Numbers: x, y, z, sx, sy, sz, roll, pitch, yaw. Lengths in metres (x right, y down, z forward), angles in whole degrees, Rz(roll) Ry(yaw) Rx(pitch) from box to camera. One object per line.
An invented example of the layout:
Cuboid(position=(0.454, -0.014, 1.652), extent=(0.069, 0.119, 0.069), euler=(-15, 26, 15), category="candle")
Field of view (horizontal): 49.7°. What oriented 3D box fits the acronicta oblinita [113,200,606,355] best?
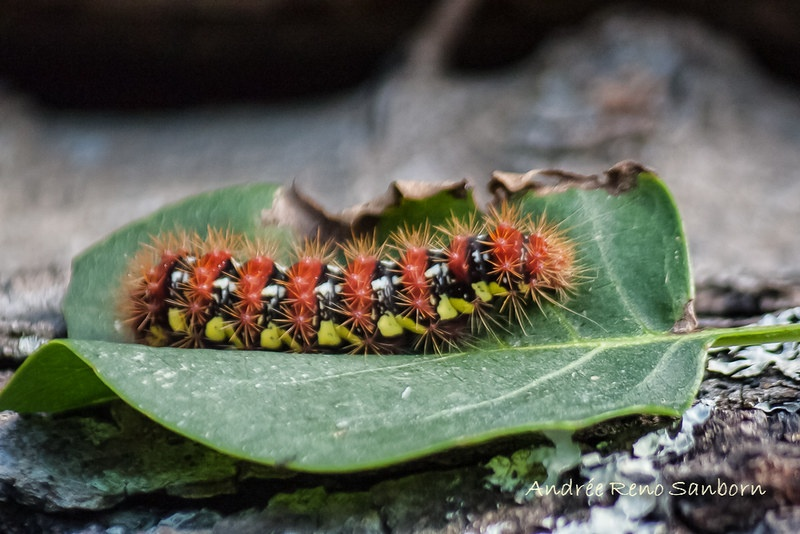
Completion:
Cuboid(position=(-0.277, 0.082, 3.962), extent=(2.064, 0.760, 0.644), euler=(-1, 17, 7), category="acronicta oblinita")
